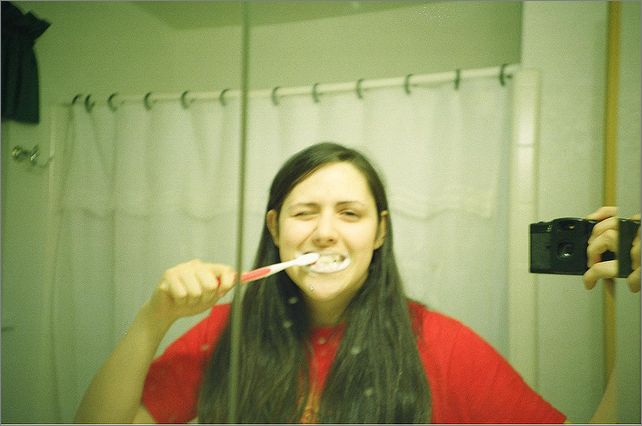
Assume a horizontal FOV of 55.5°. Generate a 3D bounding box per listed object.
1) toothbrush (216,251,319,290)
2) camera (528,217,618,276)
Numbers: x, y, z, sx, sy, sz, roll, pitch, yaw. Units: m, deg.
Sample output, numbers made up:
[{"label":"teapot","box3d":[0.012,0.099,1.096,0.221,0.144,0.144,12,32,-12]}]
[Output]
[{"label":"toothbrush","box3d":[-0.162,0.172,1.856,0.426,0.044,0.056,-11,10,-28]},{"label":"camera","box3d":[0.779,0.106,1.865,0.140,0.174,0.245,7,-6,-41]}]
